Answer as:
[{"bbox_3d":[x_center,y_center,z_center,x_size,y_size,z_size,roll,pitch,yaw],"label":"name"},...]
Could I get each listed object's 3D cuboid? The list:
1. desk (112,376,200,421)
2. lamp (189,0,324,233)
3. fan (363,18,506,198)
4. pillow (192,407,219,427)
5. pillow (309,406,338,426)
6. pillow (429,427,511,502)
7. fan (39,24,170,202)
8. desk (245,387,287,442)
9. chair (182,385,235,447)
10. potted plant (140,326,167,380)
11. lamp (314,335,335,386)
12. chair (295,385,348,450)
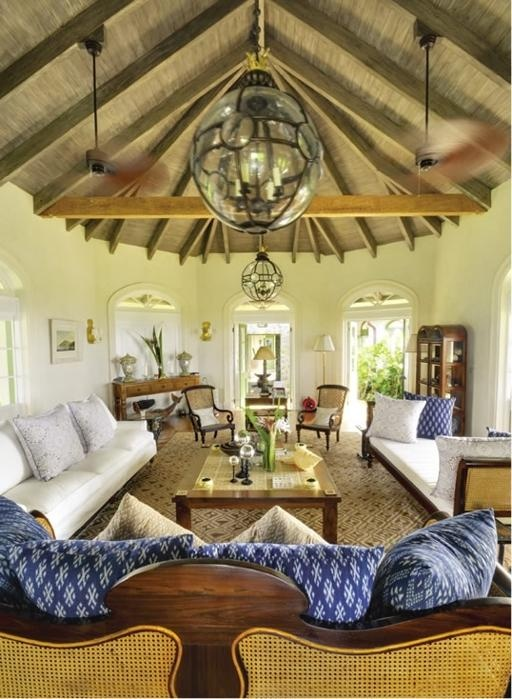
[{"bbox_3d":[-1.415,0.706,7.755,1.303,0.581,0.253,-5,7,-43],"label":"desk"},{"bbox_3d":[-0.001,-0.724,2.015,0.492,0.516,0.267,1,-1,6],"label":"lamp"},{"bbox_3d":[1.543,-1.995,4.719,0.887,0.948,0.913,-7,-10,5],"label":"fan"},{"bbox_3d":[-0.608,0.818,6.466,0.302,0.195,0.395,1,-1,-7],"label":"pillow"},{"bbox_3d":[0.805,0.789,6.284,0.302,0.197,0.441,1,-1,14],"label":"pillow"},{"bbox_3d":[1.357,0.744,3.385,0.696,0.473,0.239,-1,-9,1],"label":"pillow"},{"bbox_3d":[-1.287,-2.018,4.472,1.008,1.035,1.062,-5,-3,-18],"label":"fan"},{"bbox_3d":[0.124,0.884,7.202,0.533,0.664,0.738,-3,5,-1],"label":"desk"},{"bbox_3d":[-0.579,0.818,6.560,0.547,0.706,0.536,-5,6,-20],"label":"chair"},{"bbox_3d":[-1.590,0.019,8.284,0.335,0.795,0.715,1,-1,-10],"label":"potted plant"},{"bbox_3d":[1.096,0.147,8.489,0.309,0.826,1.268,1,-1,8],"label":"lamp"},{"bbox_3d":[0.790,0.793,6.425,0.622,0.697,0.594,1,2,-11],"label":"chair"}]
